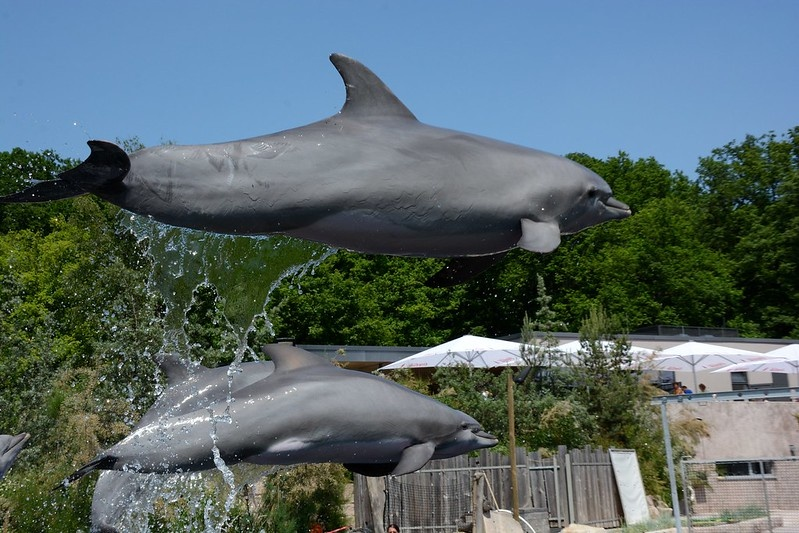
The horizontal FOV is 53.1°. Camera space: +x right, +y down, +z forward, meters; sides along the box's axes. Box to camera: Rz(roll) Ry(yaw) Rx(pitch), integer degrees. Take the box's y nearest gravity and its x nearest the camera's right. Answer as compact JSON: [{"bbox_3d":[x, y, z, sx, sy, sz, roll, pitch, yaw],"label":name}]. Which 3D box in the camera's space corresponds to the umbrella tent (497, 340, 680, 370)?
[{"bbox_3d":[6.220,2.833,25.781,3.916,1.021,3.935,-7,-11,23],"label":"umbrella tent"}]
